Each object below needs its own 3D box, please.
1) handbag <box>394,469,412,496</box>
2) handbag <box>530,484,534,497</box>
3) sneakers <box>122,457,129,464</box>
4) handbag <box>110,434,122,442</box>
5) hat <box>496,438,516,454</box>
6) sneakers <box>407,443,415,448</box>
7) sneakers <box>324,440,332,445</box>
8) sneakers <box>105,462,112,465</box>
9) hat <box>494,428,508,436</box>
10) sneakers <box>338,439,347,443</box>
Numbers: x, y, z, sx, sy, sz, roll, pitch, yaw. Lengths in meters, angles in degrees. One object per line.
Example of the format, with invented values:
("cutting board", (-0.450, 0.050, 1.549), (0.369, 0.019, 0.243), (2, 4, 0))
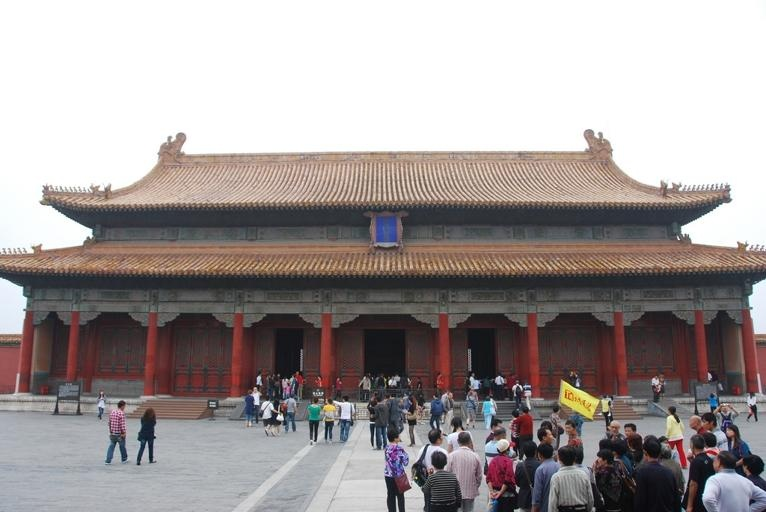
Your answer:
("handbag", (0.572, 6.953, 22.777), (0.460, 0.648, 0.288), (0, -17, 0))
("handbag", (4.290, 6.760, 21.303), (0.069, 0.102, 0.506), (-20, 18, 23))
("sneakers", (-9.969, 7.870, 28.500), (0.169, 0.174, 0.447), (0, -17, -5))
("handbag", (-10.224, 6.901, 28.276), (0.506, 0.306, 0.278), (4, 17, -3))
("hat", (3.641, 5.698, 22.244), (0.372, 0.395, 0.444), (-1, -16, 3))
("sneakers", (1.204, 8.156, 31.838), (0.335, 0.117, 0.104), (0, -13, 14))
("sneakers", (-2.398, 8.225, 32.625), (0.216, 0.134, 0.450), (-15, -14, -23))
("sneakers", (-10.489, 7.877, 28.135), (0.161, 0.082, 0.185), (5, -16, -20))
("hat", (3.595, 5.427, 22.757), (0.317, 0.302, 0.422), (-2, -16, 5))
("sneakers", (-1.860, 8.266, 33.110), (0.177, 0.117, 0.394), (4, -16, -31))
